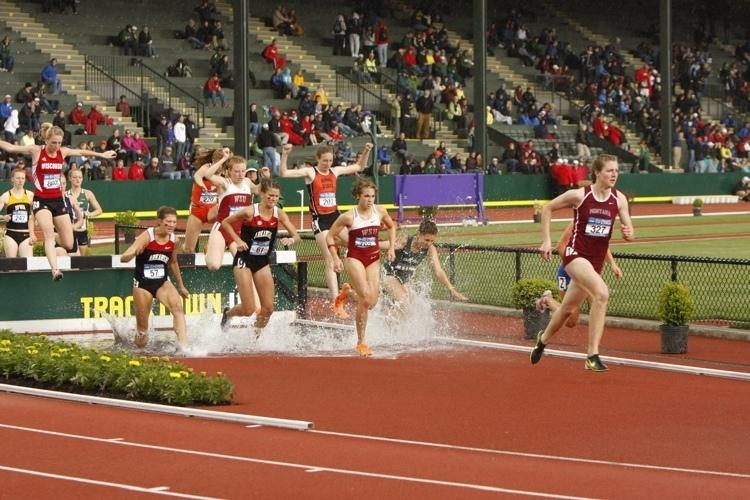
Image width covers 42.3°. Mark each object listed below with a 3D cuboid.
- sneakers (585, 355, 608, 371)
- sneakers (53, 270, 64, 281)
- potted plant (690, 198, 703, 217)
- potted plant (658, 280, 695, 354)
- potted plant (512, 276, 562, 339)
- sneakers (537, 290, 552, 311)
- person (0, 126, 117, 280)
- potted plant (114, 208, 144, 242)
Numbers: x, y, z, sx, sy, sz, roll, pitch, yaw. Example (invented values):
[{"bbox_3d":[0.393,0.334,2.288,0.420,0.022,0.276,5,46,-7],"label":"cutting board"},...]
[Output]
[{"bbox_3d":[2.999,1.538,13.278,0.155,0.191,0.380,-5,1,-24],"label":"sneakers"},{"bbox_3d":[-5.352,0.417,16.273,0.112,0.129,0.284,-35,18,-4],"label":"sneakers"},{"bbox_3d":[12.995,-1.729,38.962,0.320,0.689,1.140,0,4,17],"label":"potted plant"},{"bbox_3d":[4.712,1.052,15.268,0.542,1.031,0.568,2,4,33],"label":"potted plant"},{"bbox_3d":[2.623,0.961,16.547,0.906,1.121,0.885,0,5,-10],"label":"potted plant"},{"bbox_3d":[2.784,0.819,15.818,0.180,0.153,0.440,-2,-9,-2],"label":"sneakers"},{"bbox_3d":[-5.526,-0.808,16.595,0.832,2.547,0.996,0,3,11],"label":"person"},{"bbox_3d":[-7.089,-0.702,27.623,0.992,1.209,0.895,0,8,-8],"label":"potted plant"}]
